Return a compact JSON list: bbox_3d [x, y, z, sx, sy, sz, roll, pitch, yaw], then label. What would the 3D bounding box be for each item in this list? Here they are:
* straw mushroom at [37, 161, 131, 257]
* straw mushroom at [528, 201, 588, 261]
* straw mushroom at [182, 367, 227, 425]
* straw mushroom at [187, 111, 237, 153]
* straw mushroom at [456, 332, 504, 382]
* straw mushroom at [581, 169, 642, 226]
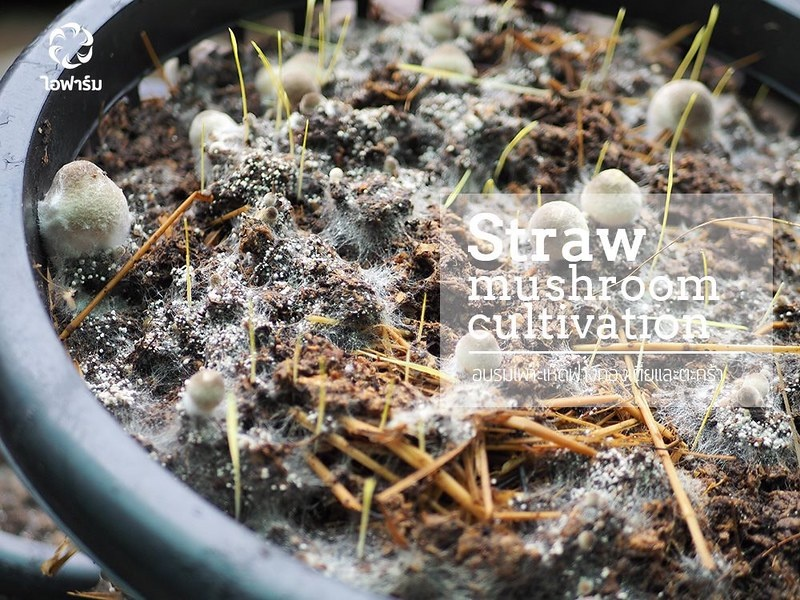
[{"bbox_3d":[-0.493,-0.147,1.267,0.140,0.143,0.154,2,12,37],"label":"straw mushroom"},{"bbox_3d":[0.244,-0.107,1.282,0.086,0.105,0.089,1,3,8],"label":"straw mushroom"},{"bbox_3d":[-0.270,0.137,1.121,0.042,0.044,0.077,-19,-16,-17],"label":"straw mushroom"},{"bbox_3d":[-0.326,-0.292,1.386,0.079,0.074,0.031,-26,48,-39],"label":"straw mushroom"},{"bbox_3d":[0.114,0.084,1.224,0.066,0.069,0.078,5,27,-2],"label":"straw mushroom"},{"bbox_3d":[0.341,-0.162,1.302,0.088,0.092,0.090,15,23,8],"label":"straw mushroom"}]
